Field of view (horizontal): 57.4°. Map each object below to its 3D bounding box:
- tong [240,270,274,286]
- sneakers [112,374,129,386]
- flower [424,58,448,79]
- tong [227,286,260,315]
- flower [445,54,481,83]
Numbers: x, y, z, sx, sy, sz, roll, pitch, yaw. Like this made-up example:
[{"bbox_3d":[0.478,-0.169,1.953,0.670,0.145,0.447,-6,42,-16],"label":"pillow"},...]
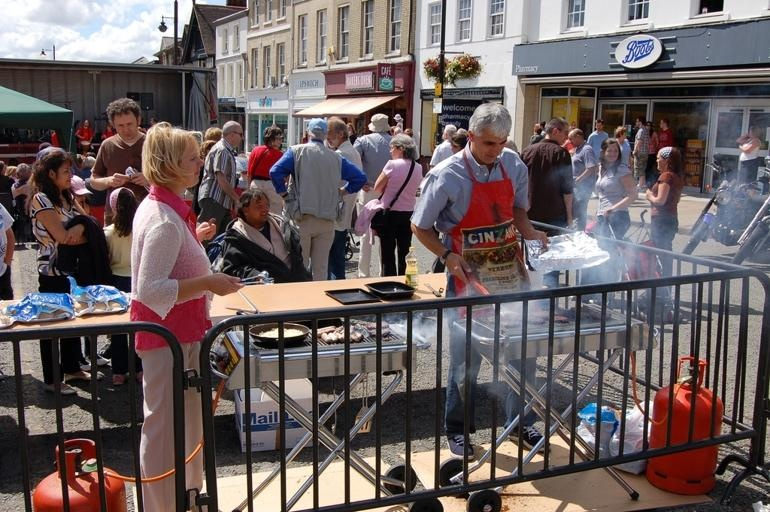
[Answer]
[{"bbox_3d":[-1.282,0.210,6.912,0.789,0.123,0.121,-4,-10,43],"label":"tong"},{"bbox_3d":[-2.497,1.161,6.704,0.064,0.085,0.187,-2,4,4],"label":"sneakers"},{"bbox_3d":[1.675,-6.592,24.516,0.392,0.695,1.137,-2,11,-13],"label":"flower"},{"bbox_3d":[-1.162,0.355,5.989,0.176,0.287,0.113,-20,-4,-44],"label":"tong"},{"bbox_3d":[2.531,-6.197,23.165,0.802,0.591,0.877,-5,18,1],"label":"flower"}]
